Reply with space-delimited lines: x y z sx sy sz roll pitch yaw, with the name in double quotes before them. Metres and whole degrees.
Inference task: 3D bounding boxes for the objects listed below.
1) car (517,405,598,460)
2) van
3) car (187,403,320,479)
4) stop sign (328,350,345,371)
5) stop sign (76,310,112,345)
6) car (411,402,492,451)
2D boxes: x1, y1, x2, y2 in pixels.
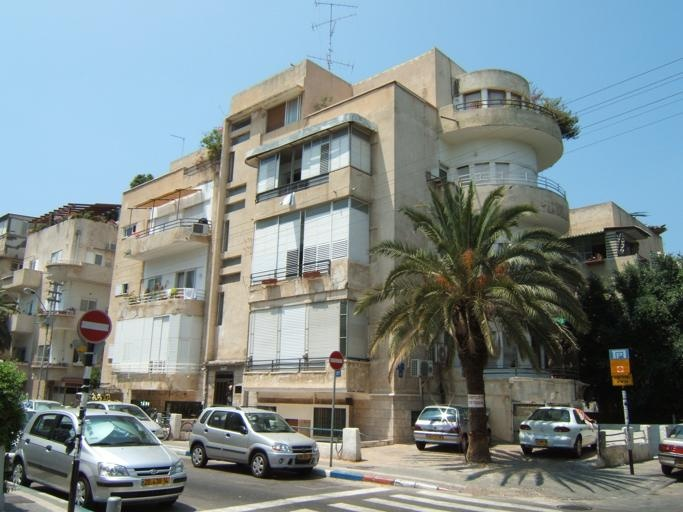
"car" 8.523 6.852 21.712 2.902 1.813 1.757 8 -8 -35
"van" -5.969 4.996 13.827 4.385 2.031 1.806 0 -8 33
"car" -2.814 5.925 17.956 3.756 1.564 2.060 -9 -20 35
"stop sign" -0.192 3.774 19.968 0.458 0.706 1.020 5 -7 -2
"stop sign" -5.533 1.566 12.414 0.715 0.735 0.466 10 -9 -39
"car" 4.679 6.904 22.883 1.979 1.280 3.040 -10 -16 34
